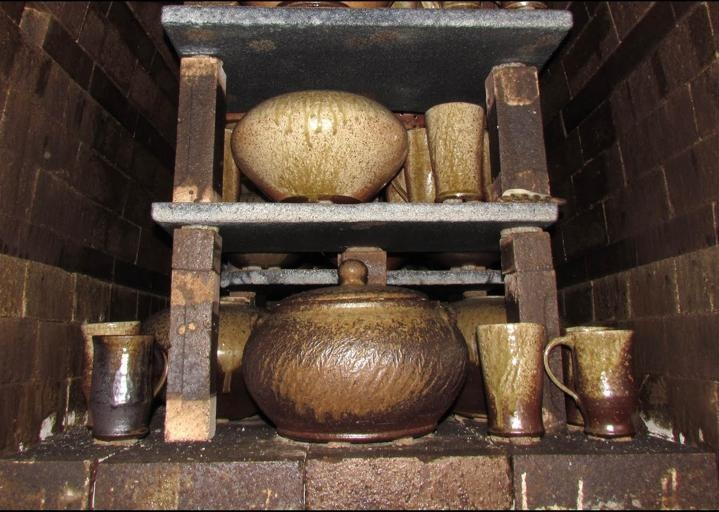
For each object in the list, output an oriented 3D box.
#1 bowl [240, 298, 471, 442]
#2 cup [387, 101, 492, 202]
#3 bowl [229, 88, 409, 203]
[{"bbox_3d":[-0.021,0.398,2.058,0.582,0.572,0.339,-1,87,8],"label":"bowl"},{"bbox_3d":[0.318,-0.409,2.721,0.497,0.330,0.380,-10,74,36],"label":"cup"},{"bbox_3d":[-0.154,-0.363,2.448,0.506,0.533,0.311,2,93,45],"label":"bowl"}]
